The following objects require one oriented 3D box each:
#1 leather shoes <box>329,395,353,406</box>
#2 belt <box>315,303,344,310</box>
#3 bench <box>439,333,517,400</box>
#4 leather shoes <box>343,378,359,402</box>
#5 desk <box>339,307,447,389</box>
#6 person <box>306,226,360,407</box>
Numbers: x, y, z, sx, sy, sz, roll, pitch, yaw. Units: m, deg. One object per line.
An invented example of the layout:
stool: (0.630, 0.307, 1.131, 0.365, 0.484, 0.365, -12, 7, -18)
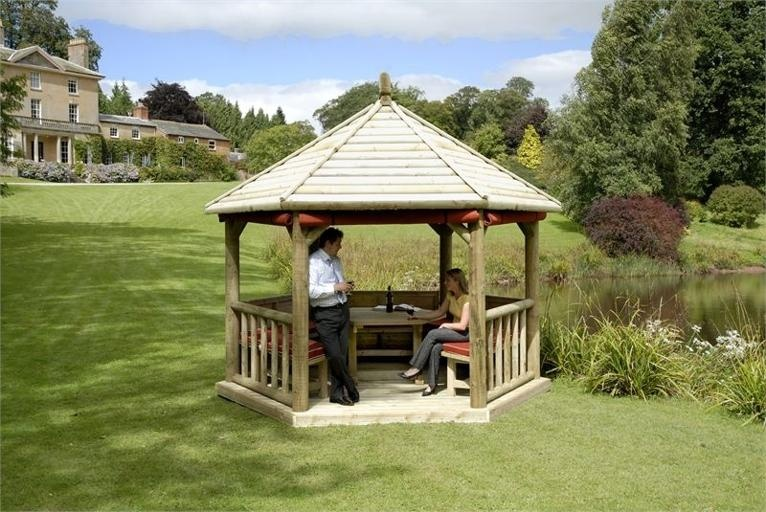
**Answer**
leather shoes: (-0.957, 3.316, 17.135, 0.522, 0.263, 0.194, -1, 1, 14)
belt: (-1.224, 1.143, 16.789, 0.641, 0.156, 0.090, 1, 11, -6)
bench: (1.943, 2.651, 17.732, 1.359, 1.486, 1.317, -4, -8, 20)
leather shoes: (-0.690, 3.026, 17.104, 0.221, 0.660, 0.268, -11, -16, -24)
desk: (0.132, 2.285, 18.613, 1.818, 1.243, 1.712, -2, 5, -4)
person: (-1.139, 1.359, 16.924, 1.227, 3.960, 0.842, 9, 13, 32)
